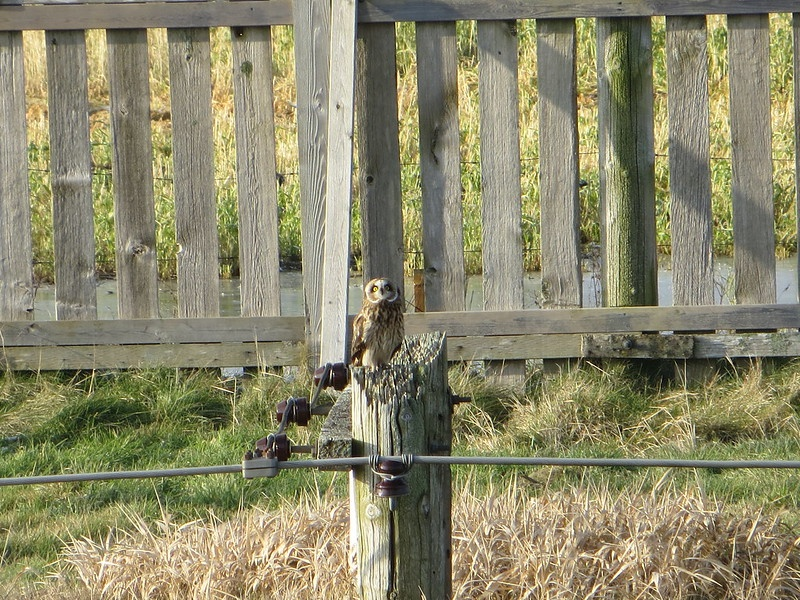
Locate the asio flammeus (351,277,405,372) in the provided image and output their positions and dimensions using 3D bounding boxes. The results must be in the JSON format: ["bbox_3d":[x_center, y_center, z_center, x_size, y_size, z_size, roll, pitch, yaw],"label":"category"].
[{"bbox_3d":[-0.142,0.137,13.625,0.308,0.669,0.579,0,0,-15],"label":"asio flammeus"}]
